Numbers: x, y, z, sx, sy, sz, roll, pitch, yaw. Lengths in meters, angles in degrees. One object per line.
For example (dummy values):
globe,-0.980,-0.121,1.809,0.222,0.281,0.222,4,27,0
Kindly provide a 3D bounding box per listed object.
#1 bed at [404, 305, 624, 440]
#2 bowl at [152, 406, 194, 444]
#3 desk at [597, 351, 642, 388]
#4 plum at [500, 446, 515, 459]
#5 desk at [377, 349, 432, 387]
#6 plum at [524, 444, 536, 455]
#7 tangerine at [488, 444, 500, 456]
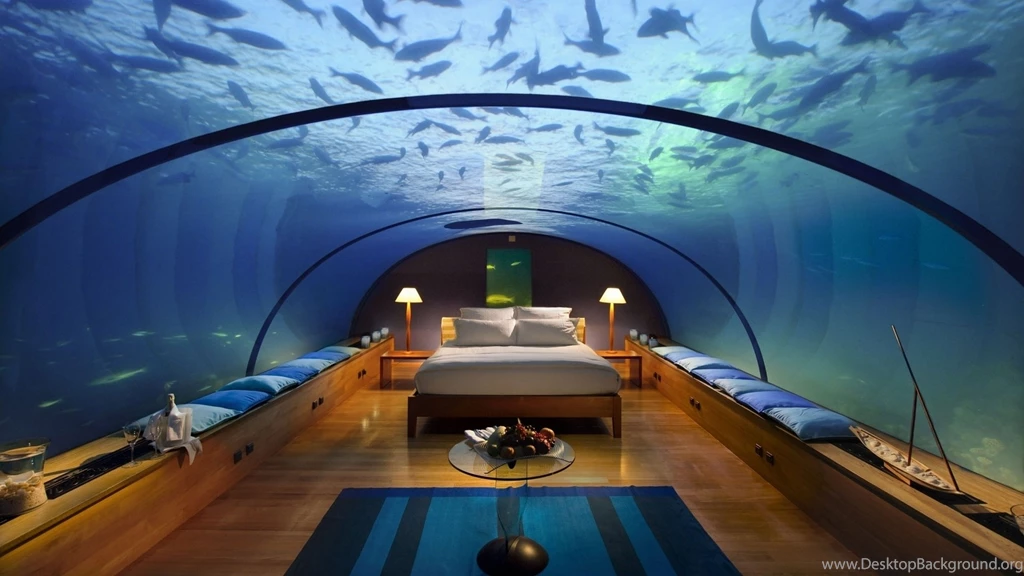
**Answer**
bed,0.039,1.257,7.340,2.835,1.882,2.005,-3,-13,1
bowl,-3.273,1.352,4.578,0.307,0.278,0.364,-6,-9,16
desk,2.150,1.532,9.105,0.800,0.394,0.701,0,-2,3
plum,-0.030,1.519,4.439,0.110,0.087,0.107,4,6,38
desk,-2.063,1.417,8.810,1.125,0.469,0.681,0,5,0
plum,0.172,1.490,4.404,0.078,0.080,0.079,0,-12,43
tangerine,-0.172,1.521,4.477,0.096,0.059,0.095,1,1,40
